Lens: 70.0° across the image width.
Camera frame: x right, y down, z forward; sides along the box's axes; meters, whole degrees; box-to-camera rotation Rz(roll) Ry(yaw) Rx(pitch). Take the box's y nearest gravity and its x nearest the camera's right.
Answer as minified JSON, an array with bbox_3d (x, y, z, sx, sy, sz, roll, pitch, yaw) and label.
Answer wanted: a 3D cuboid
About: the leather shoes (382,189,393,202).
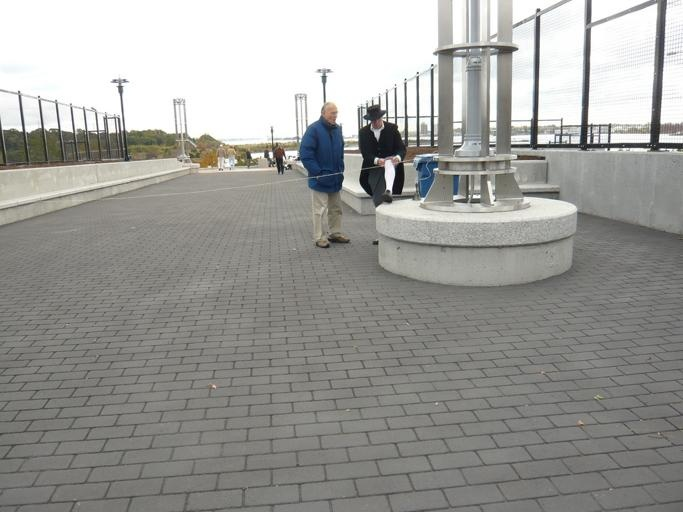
[{"bbox_3d":[0.744,-0.937,7.862,0.124,0.096,0.231,6,-23,15],"label":"leather shoes"}]

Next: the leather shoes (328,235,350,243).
[{"bbox_3d":[-0.052,-0.296,8.794,0.432,0.161,0.140,0,8,10],"label":"leather shoes"}]

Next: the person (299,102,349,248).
[{"bbox_3d":[-0.296,-1.333,8.334,0.836,2.379,0.552,-5,15,-13],"label":"person"}]

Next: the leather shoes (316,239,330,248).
[{"bbox_3d":[-0.328,-0.212,8.485,0.105,0.100,0.270,-6,3,-33],"label":"leather shoes"}]
